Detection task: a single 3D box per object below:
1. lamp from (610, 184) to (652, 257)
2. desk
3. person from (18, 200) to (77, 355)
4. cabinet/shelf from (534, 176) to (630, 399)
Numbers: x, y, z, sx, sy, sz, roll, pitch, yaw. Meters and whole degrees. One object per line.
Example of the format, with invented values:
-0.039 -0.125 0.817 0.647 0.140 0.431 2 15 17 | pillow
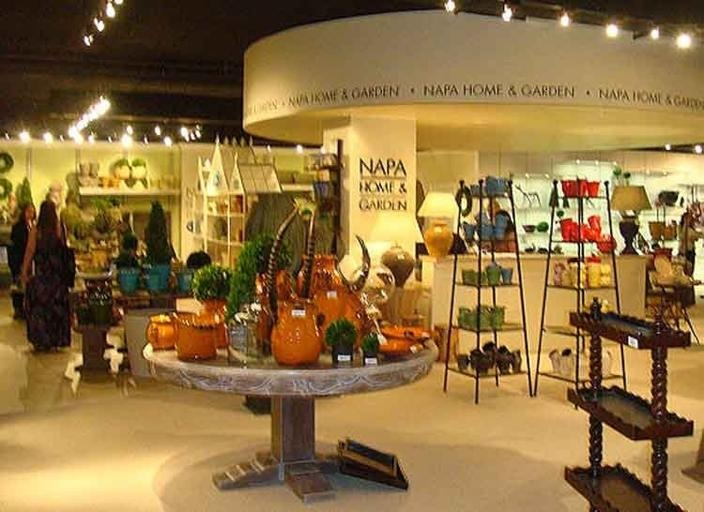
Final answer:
4.242 -0.546 9.155 0.659 1.011 0.687 1 -1 -41 | lamp
-0.449 0.936 3.545 1.187 0.672 1.227 -2 5 -29 | desk
-3.875 0.280 7.664 0.595 1.983 0.548 -1 4 -16 | person
2.589 0.297 6.761 0.778 2.169 0.737 -3 5 -36 | cabinet/shelf
